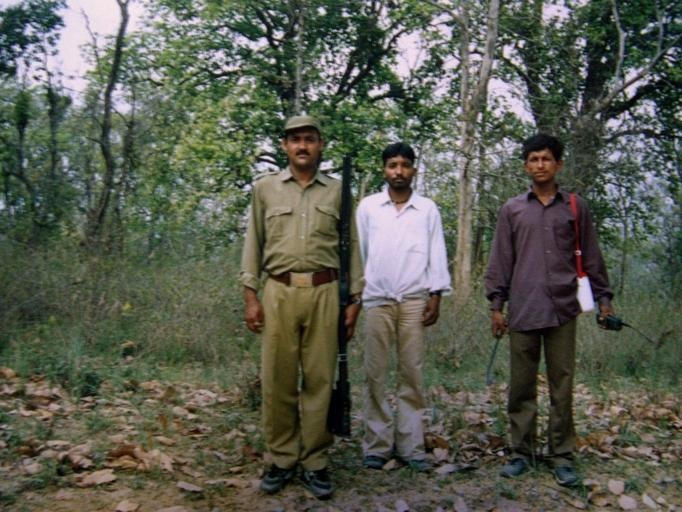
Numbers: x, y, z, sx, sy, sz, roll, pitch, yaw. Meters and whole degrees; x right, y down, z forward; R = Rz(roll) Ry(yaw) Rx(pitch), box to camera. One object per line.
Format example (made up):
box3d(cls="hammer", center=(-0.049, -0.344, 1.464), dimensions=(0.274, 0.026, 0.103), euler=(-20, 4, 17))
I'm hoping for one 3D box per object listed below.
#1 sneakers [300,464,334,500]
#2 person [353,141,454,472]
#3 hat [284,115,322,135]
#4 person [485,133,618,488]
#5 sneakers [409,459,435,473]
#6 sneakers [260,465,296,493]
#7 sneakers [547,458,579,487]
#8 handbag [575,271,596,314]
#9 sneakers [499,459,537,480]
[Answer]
box3d(cls="sneakers", center=(-0.258, 2.195, 5.340), dimensions=(0.373, 0.254, 0.176), euler=(0, -3, 24))
box3d(cls="person", center=(0.635, 0.491, 5.929), dimensions=(0.979, 3.454, 0.420), euler=(1, -3, 0))
box3d(cls="hat", center=(-0.396, -1.348, 5.505), dimensions=(0.340, 0.229, 0.257), euler=(2, -3, -7))
box3d(cls="person", center=(2.116, 0.497, 5.688), dimensions=(1.170, 3.550, 0.401), euler=(0, -3, 22))
box3d(cls="sneakers", center=(0.842, 2.156, 5.678), dimensions=(0.137, 0.046, 0.172), euler=(14, -15, -42))
box3d(cls="sneakers", center=(-0.601, 2.200, 5.471), dimensions=(0.432, 0.205, 0.163), euler=(1, -1, -38))
box3d(cls="sneakers", center=(2.254, 2.157, 5.534), dimensions=(0.163, 0.132, 0.318), euler=(7, 9, -2))
box3d(cls="handbag", center=(2.530, 0.371, 5.590), dimensions=(0.263, 0.367, 0.128), euler=(3, -3, -31))
box3d(cls="sneakers", center=(1.804, 2.164, 5.610), dimensions=(0.350, 0.156, 0.150), euler=(-3, -3, -12))
